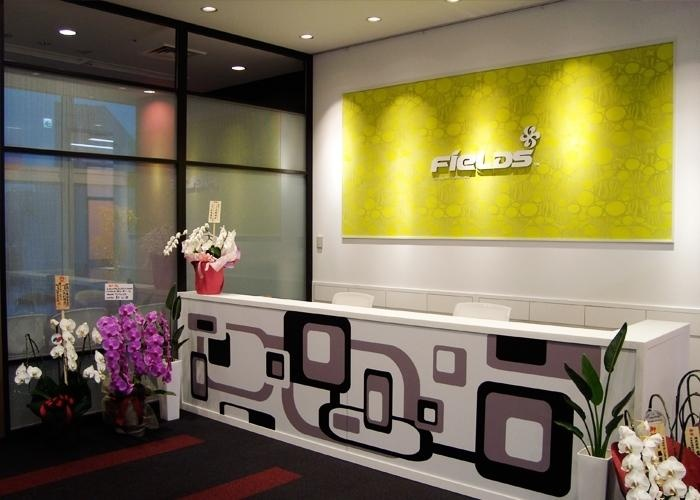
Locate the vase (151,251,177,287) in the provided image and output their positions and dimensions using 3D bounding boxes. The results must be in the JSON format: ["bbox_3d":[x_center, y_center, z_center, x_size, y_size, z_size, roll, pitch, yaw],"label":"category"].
[{"bbox_3d":[-1.820,0.201,4.770,0.275,0.341,0.270,2,3,20],"label":"vase"}]

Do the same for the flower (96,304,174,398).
[{"bbox_3d":[-1.719,0.831,3.815,0.431,0.600,0.433,3,-19,-39],"label":"flower"}]

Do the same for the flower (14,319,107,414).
[{"bbox_3d":[-2.273,0.881,3.827,0.657,0.779,0.833,-4,6,-35],"label":"flower"}]

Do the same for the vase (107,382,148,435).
[{"bbox_3d":[-1.723,1.296,3.959,0.355,0.358,0.323,-1,-2,18],"label":"vase"}]

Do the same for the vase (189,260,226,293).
[{"bbox_3d":[-1.224,0.230,4.256,0.287,0.266,0.268,-2,-4,40],"label":"vase"}]
